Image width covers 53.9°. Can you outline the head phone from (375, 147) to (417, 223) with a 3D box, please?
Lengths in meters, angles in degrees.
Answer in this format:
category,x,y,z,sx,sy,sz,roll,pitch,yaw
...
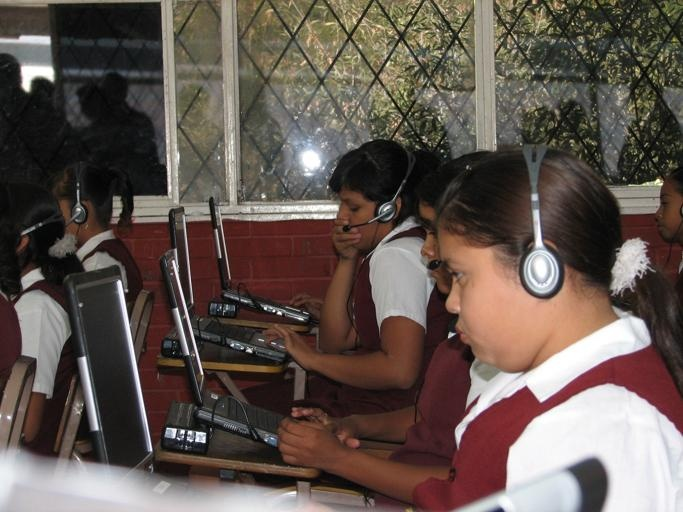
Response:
category,x,y,z,sx,sy,sz,roll,pitch,yaw
head phone,0.173,-0.255,2.384,0.065,0.227,0.161,19,16,19

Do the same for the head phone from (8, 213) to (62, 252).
category,x,y,z,sx,sy,sz,roll,pitch,yaw
head phone,-0.988,-0.079,2.205,0.101,0.033,0.083,-26,12,-4

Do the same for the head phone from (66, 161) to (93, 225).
category,x,y,z,sx,sy,sz,roll,pitch,yaw
head phone,-1.090,-0.255,2.794,0.071,0.253,0.189,-4,-16,-1

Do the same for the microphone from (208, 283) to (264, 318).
category,x,y,z,sx,sy,sz,roll,pitch,yaw
microphone,-0.481,0.215,2.936,0.166,0.041,0.175,26,37,28

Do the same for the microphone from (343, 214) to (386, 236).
category,x,y,z,sx,sy,sz,roll,pitch,yaw
microphone,0.083,-0.104,2.449,0.157,0.045,0.059,-21,-42,32

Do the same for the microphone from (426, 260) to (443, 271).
category,x,y,z,sx,sy,sz,roll,pitch,yaw
microphone,0.279,0.027,1.980,0.048,0.037,0.028,-11,24,-35

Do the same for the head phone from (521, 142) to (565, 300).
category,x,y,z,sx,sy,sz,roll,pitch,yaw
head phone,0.365,-0.058,1.198,0.072,0.261,0.066,-4,-5,25

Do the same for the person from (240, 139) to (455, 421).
category,x,y,z,sx,sy,sz,roll,pitch,yaw
person,0.116,0.022,2.777,0.798,1.511,0.890,0,1,2

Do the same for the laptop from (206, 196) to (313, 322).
category,x,y,z,sx,sy,sz,roll,pitch,yaw
laptop,-0.333,-0.003,3.090,0.526,0.566,0.481,2,3,-10

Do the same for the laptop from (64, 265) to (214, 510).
category,x,y,z,sx,sy,sz,roll,pitch,yaw
laptop,-0.505,0.269,1.489,0.113,0.483,0.191,2,3,16
